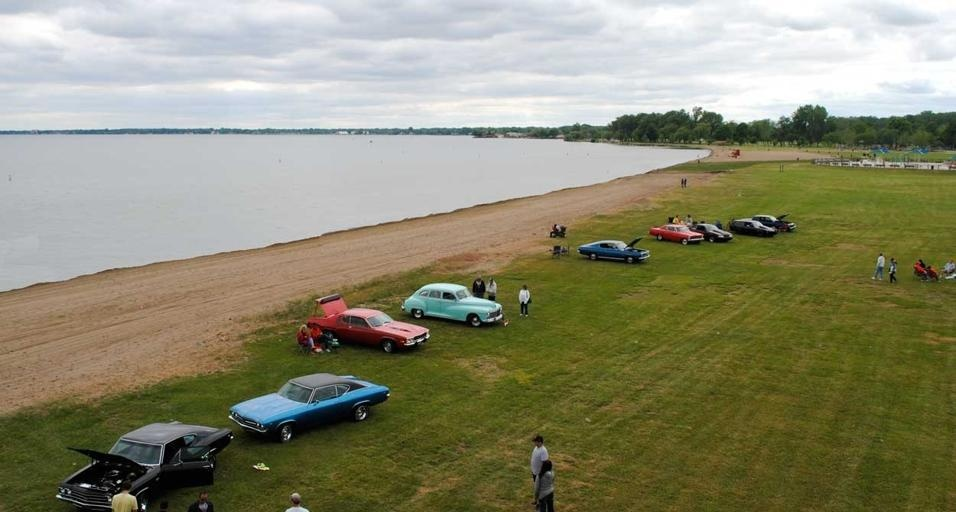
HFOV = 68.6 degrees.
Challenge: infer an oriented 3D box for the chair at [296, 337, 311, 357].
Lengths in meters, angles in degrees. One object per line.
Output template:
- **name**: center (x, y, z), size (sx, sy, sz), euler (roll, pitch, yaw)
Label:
- **chair**: center (-12.003, 6.076, 48.098), size (0.801, 1.007, 1.182), euler (-10, 16, -22)

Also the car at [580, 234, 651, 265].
- **car**: center (12.363, -0.569, 63.974), size (6.545, 1.944, 2.466), euler (4, 12, 24)

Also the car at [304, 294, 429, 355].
- **car**: center (-7.766, 5.254, 49.307), size (8.877, 2.412, 3.673), euler (8, 17, 19)

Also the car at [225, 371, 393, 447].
- **car**: center (-9.647, 9.129, 42.159), size (8.049, 1.861, 4.094), euler (-6, 12, -35)

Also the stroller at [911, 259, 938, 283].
- **stroller**: center (36.604, 1.217, 57.486), size (1.686, 1.452, 1.384), euler (10, 20, 42)

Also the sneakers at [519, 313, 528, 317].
- **sneakers**: center (3.351, 4.370, 52.007), size (0.210, 0.138, 0.487), euler (-26, 15, -31)
